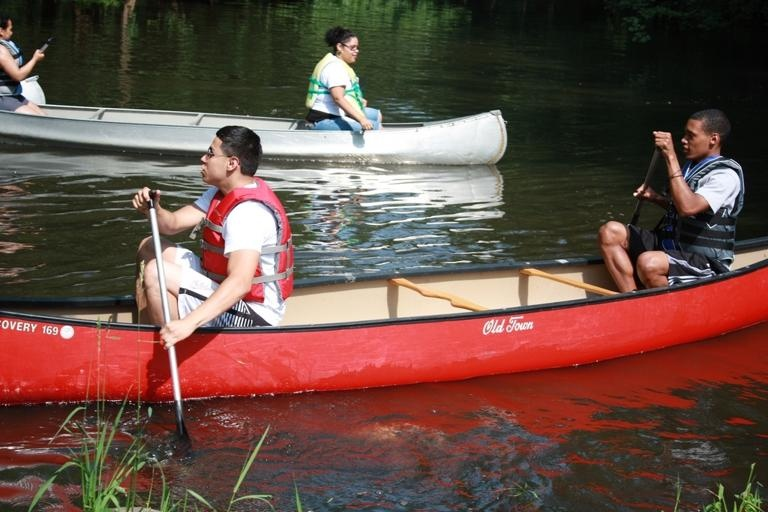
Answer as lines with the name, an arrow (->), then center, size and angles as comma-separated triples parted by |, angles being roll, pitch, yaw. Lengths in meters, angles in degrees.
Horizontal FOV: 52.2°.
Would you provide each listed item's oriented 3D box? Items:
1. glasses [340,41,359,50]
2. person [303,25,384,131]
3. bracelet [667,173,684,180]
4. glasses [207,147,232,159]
glasses -> -0.416, -2.495, 9.266 | 0.195, 0.041, 0.143 | 6, 10, 32
person -> -0.542, -2.127, 9.543 | 0.665, 1.237, 0.657 | -6, 12, -22
bracelet -> 2.097, -0.573, 5.622 | 0.089, 0.043, 0.074 | 1, 8, 13
glasses -> -1.010, -0.629, 4.784 | 0.126, 0.024, 0.083 | 3, -1, -29
